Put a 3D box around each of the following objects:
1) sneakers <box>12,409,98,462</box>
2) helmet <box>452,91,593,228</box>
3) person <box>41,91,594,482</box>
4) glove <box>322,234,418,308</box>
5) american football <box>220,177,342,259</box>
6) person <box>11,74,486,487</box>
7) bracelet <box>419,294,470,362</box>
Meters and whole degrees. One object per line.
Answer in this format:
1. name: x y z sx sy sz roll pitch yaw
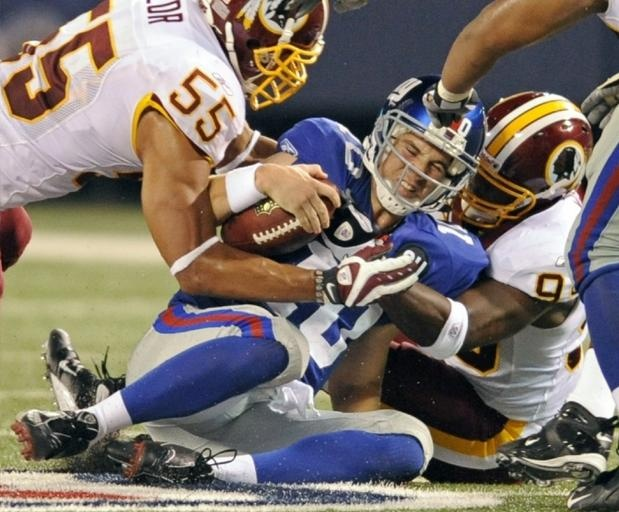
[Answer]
1. sneakers: -0.744 0.527 2.951 0.242 0.126 0.092 -5 -8 -10
2. helmet: 0.721 -0.330 3.565 0.553 0.390 0.378 -12 39 8
3. person: -0.254 0.116 3.436 1.744 1.257 0.932 -10 -27 20
4. glove: 0.214 0.057 3.160 0.303 0.153 0.110 -21 -8 -12
5. american football: -0.146 -0.095 3.290 0.352 0.185 0.211 -21 19 -21
6. person: -0.140 0.298 3.522 1.807 1.244 1.018 -15 -28 24
7. bracelet: 0.450 0.229 3.273 0.092 0.188 0.155 36 -25 -6
